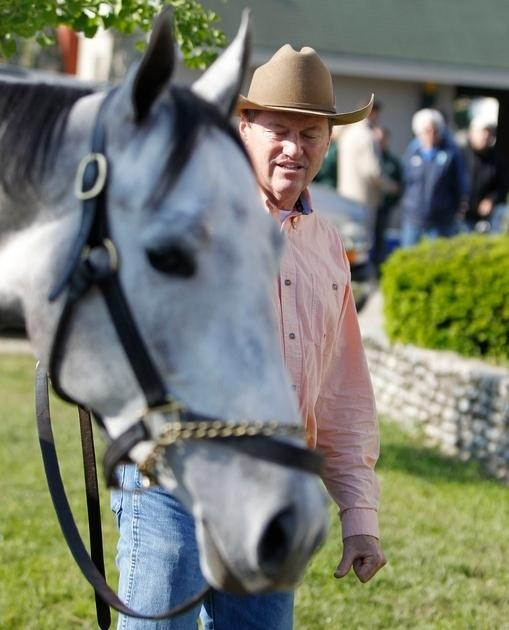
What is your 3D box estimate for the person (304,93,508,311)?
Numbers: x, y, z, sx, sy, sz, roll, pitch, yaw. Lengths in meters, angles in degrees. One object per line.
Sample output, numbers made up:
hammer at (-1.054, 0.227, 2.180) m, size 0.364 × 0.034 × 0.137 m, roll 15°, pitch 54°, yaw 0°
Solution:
person at (1.099, -0.772, 11.253) m, size 1.937 × 1.262 × 1.404 m, roll 3°, pitch 4°, yaw 3°
